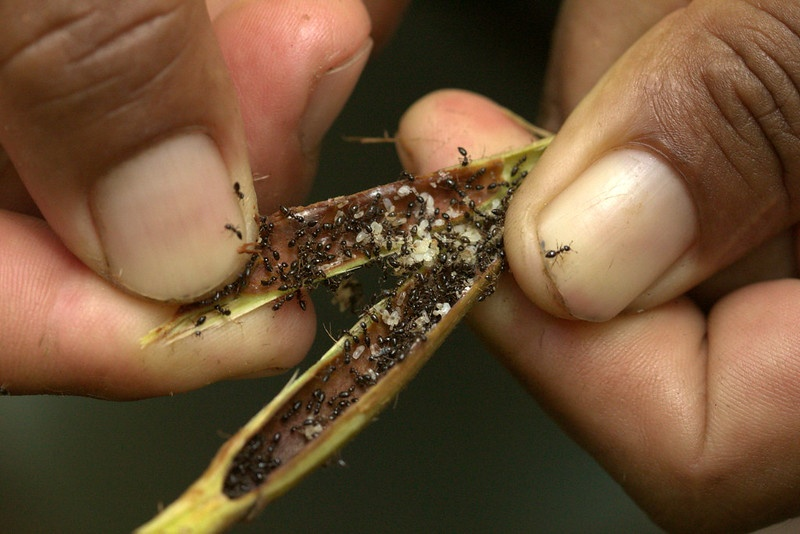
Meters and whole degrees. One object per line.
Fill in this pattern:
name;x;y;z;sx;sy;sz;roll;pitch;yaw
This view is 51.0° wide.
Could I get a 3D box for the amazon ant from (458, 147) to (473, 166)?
amazon ant;0.619;-1.057;8.012;0.147;0.069;0.228;-12;104;5
